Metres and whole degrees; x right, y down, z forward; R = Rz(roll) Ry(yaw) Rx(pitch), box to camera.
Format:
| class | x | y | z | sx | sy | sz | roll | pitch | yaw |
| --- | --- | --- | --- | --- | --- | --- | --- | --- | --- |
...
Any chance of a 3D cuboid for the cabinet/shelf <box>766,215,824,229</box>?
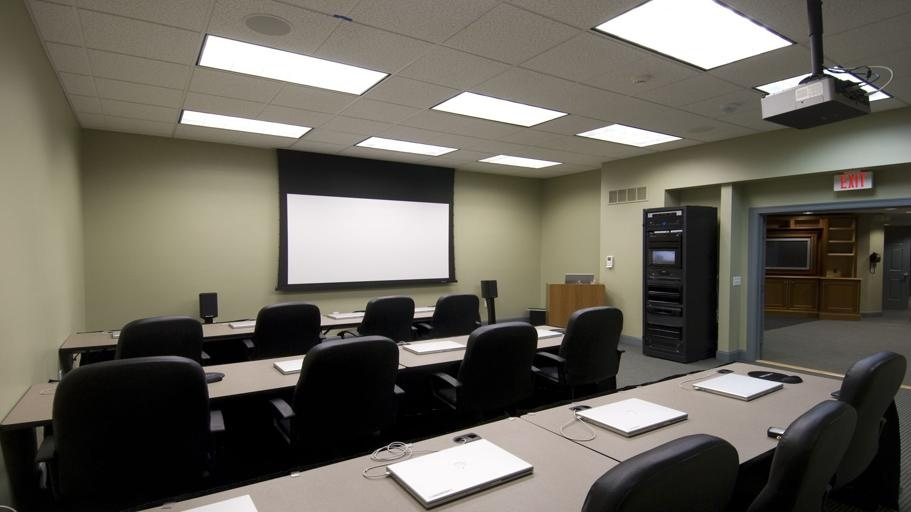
| class | x | y | z | sx | sy | sz | roll | pitch | yaw |
| --- | --- | --- | --- | --- | --- | --- | --- | --- | --- |
| cabinet/shelf | 7.677 | -0.750 | 12.144 | 0.294 | 0.332 | 1.064 | -1 | 1 | -41 |

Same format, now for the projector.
| class | x | y | z | sx | sy | sz | roll | pitch | yaw |
| --- | --- | --- | --- | --- | --- | --- | --- | --- | --- |
| projector | 3.329 | -1.427 | 4.978 | 0.755 | 0.353 | 0.495 | 0 | 1 | -26 |

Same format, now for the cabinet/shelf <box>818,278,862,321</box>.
| class | x | y | z | sx | sy | sz | roll | pitch | yaw |
| --- | --- | --- | --- | --- | --- | --- | --- | --- | --- |
| cabinet/shelf | 8.160 | 0.916 | 11.370 | 0.917 | 1.056 | 0.644 | 1 | 4 | 44 |

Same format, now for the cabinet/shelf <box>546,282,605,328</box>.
| class | x | y | z | sx | sy | sz | roll | pitch | yaw |
| --- | --- | --- | --- | --- | --- | --- | --- | --- | --- |
| cabinet/shelf | 2.211 | 0.884 | 9.566 | 0.953 | 0.793 | 0.523 | 1 | 1 | 33 |

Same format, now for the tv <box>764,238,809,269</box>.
| class | x | y | z | sx | sy | sz | roll | pitch | yaw |
| --- | --- | --- | --- | --- | --- | --- | --- | --- | --- |
| tv | 7.340 | -0.061 | 11.848 | 0.400 | 0.577 | 0.765 | 3 | -3 | -42 |

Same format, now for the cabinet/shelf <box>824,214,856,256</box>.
| class | x | y | z | sx | sy | sz | roll | pitch | yaw |
| --- | --- | --- | --- | --- | --- | --- | --- | --- | --- |
| cabinet/shelf | 8.408 | -0.473 | 11.727 | 0.527 | 0.876 | 0.190 | 1 | 2 | 31 |

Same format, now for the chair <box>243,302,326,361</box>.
| class | x | y | z | sx | sy | sz | roll | pitch | yaw |
| --- | --- | --- | --- | --- | --- | --- | --- | --- | --- |
| chair | -1.921 | 0.848 | 6.431 | 0.749 | 0.851 | 0.769 | 1 | 1 | -28 |

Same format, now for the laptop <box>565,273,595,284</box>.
| class | x | y | z | sx | sy | sz | roll | pitch | yaw |
| --- | --- | --- | --- | --- | --- | --- | --- | --- | --- |
| laptop | 2.227 | 0.397 | 9.498 | 0.377 | 0.179 | 0.245 | -1 | -2 | 28 |
